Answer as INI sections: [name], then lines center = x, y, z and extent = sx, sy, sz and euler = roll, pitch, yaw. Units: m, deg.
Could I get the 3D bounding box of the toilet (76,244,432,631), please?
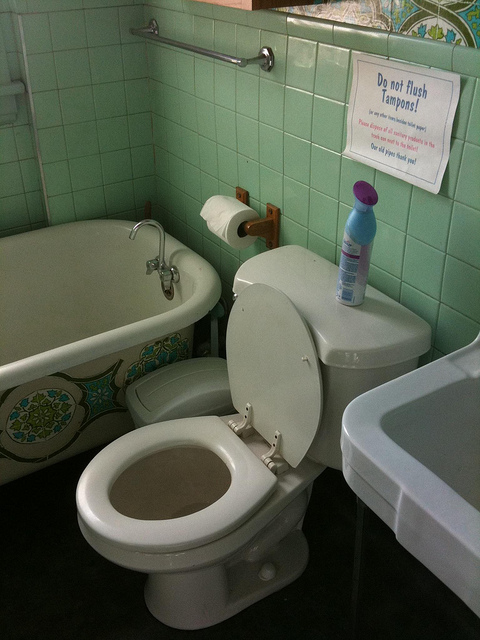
[toilet]
center = -0.072, 0.292, 1.451
extent = 0.776, 1.165, 0.679
euler = -15, 38, -22

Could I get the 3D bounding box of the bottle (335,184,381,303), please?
[bottle]
center = 0.241, -0.170, 1.046
extent = 0.057, 0.262, 0.148
euler = -6, 28, -11
